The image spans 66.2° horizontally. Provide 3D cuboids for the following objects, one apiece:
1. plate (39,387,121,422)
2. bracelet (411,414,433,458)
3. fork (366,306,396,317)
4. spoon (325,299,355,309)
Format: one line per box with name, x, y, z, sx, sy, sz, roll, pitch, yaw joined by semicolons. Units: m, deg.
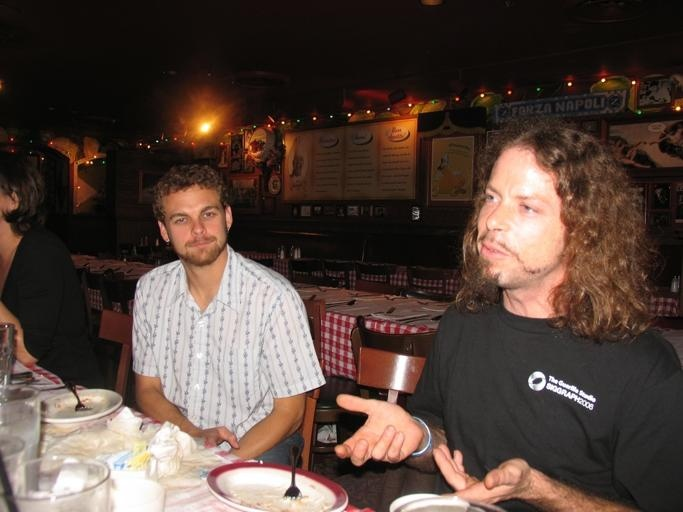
plate;-0.828;0.474;1.659;0.182;0.030;0.182;4;5;22
bracelet;0.249;0.567;1.656;0.095;0.038;0.103;-11;30;-1
fork;0.261;0.359;3.343;0.220;0.036;0.057;-5;10;-16
spoon;0.004;0.325;3.543;0.142;0.027;0.058;-3;18;-12
